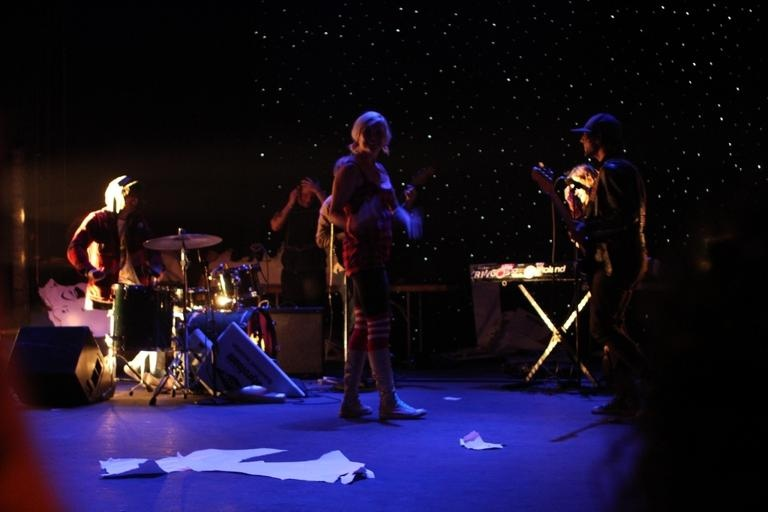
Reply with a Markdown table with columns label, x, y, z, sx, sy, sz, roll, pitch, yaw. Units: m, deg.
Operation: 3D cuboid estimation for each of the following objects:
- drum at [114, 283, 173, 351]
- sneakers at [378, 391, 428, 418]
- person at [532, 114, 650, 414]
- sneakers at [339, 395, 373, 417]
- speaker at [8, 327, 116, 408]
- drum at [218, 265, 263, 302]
| label | x | y | z | sx | sy | sz | roll | pitch | yaw |
| --- | --- | --- | --- | --- | --- | --- | --- | --- | --- |
| drum | -1.832 | 0.450 | 5.354 | 0.475 | 0.654 | 0.459 | 0 | -1 | 0 |
| sneakers | 0.099 | 0.946 | 4.393 | 0.342 | 0.235 | 0.127 | -2 | -8 | -3 |
| person | 1.320 | 0.001 | 4.352 | 0.634 | 1.924 | 0.829 | -1 | -1 | 21 |
| sneakers | -0.187 | 0.960 | 4.427 | 0.250 | 0.172 | 0.093 | -2 | 2 | -30 |
| speaker | -2.411 | 0.738 | 5.048 | 0.495 | 0.529 | 0.625 | 4 | 9 | -22 |
| drum | -1.295 | 0.228 | 6.232 | 0.314 | 0.285 | 0.347 | -6 | 3 | -9 |
